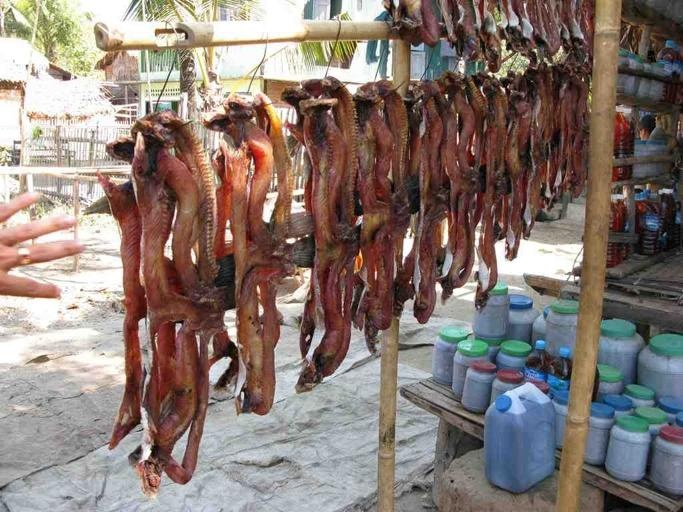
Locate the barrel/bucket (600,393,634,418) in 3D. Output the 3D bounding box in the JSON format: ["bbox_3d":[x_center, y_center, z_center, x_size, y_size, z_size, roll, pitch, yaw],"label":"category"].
[{"bbox_3d":[1.411,0.737,3.322,0.093,0.105,0.102,-6,14,-5],"label":"barrel/bucket"}]

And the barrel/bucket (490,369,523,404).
[{"bbox_3d":[0.865,0.651,3.481,0.151,0.190,0.159,0,13,0],"label":"barrel/bucket"}]

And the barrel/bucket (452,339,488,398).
[{"bbox_3d":[0.722,0.637,3.667,0.178,0.312,0.181,1,19,0],"label":"barrel/bucket"}]

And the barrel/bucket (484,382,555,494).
[{"bbox_3d":[0.905,0.940,3.304,0.355,0.545,0.259,-13,19,-34],"label":"barrel/bucket"}]

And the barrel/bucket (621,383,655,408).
[{"bbox_3d":[1.556,0.724,3.452,0.107,0.095,0.118,-2,9,-3],"label":"barrel/bucket"}]

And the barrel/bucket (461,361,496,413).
[{"bbox_3d":[0.752,0.720,3.569,0.158,0.278,0.155,2,19,-1],"label":"barrel/bucket"}]

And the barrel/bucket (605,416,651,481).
[{"bbox_3d":[1.401,0.936,3.197,0.198,0.274,0.169,4,14,20],"label":"barrel/bucket"}]

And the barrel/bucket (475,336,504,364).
[{"bbox_3d":[0.870,0.538,3.855,0.127,0.142,0.129,-3,11,0],"label":"barrel/bucket"}]

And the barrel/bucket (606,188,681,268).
[{"bbox_3d":[2.161,-0.237,4.822,0.439,0.291,0.696,-3,19,4],"label":"barrel/bucket"}]
